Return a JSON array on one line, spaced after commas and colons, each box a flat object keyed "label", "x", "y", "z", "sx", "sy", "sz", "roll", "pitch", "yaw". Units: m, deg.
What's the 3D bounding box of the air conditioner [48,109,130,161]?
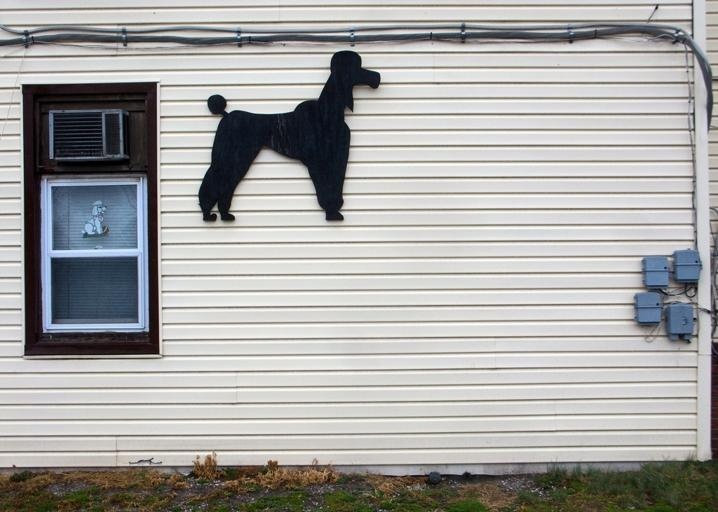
[{"label": "air conditioner", "x": -3.142, "y": -1.240, "z": 17.759, "sx": 1.071, "sy": 0.628, "sz": 0.581, "roll": 0, "pitch": 1, "yaw": -1}]
